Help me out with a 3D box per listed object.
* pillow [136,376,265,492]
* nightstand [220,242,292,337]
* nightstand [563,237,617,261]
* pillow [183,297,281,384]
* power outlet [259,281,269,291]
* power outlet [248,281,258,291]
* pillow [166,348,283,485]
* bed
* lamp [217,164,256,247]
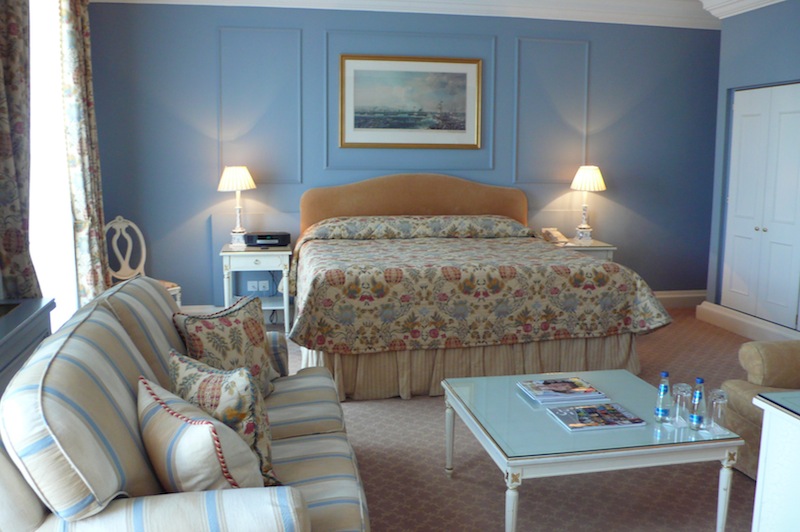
[{"bbox_3d":[-0.837,0.565,2.518,0.336,0.512,0.598,-14,20,-37],"label":"pillow"},{"bbox_3d":[-1.467,0.125,6.120,0.783,0.833,0.693,-13,34,-33],"label":"nightstand"},{"bbox_3d":[1.917,-0.182,6.334,0.353,0.259,0.348,-3,12,-14],"label":"nightstand"},{"bbox_3d":[-0.904,0.412,3.379,0.151,0.393,0.402,-27,-6,41],"label":"pillow"},{"bbox_3d":[-1.392,0.214,6.289,0.090,0.090,0.021,-1,6,-3],"label":"power outlet"},{"bbox_3d":[-1.500,0.210,6.276,0.108,0.099,0.025,6,1,-10],"label":"power outlet"},{"bbox_3d":[-0.775,0.659,2.660,0.248,0.434,0.460,-15,19,-34],"label":"pillow"},{"bbox_3d":[0.303,0.263,5.510,2.388,1.292,2.216,-2,10,-10],"label":"bed"},{"bbox_3d":[-1.565,-0.569,5.987,0.376,0.747,0.481,-4,13,-16],"label":"lamp"}]
